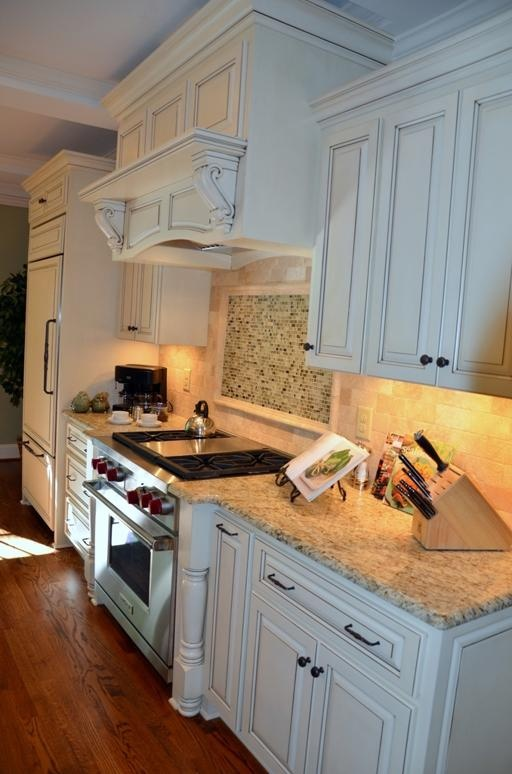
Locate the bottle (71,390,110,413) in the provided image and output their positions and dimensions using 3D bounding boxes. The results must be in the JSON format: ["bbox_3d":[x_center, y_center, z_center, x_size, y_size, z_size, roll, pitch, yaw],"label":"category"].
[{"bbox_3d":[-1.056,0.102,3.418,0.215,0.129,0.199,3,2,0],"label":"bottle"}]

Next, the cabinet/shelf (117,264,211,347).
[{"bbox_3d":[-0.620,-0.436,3.154,0.387,0.377,0.211,6,4,41],"label":"cabinet/shelf"}]

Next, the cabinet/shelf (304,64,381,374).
[{"bbox_3d":[0.257,-0.397,1.740,0.093,0.928,0.364,18,27,37],"label":"cabinet/shelf"}]

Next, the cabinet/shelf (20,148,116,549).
[{"bbox_3d":[-1.375,-0.140,3.855,0.495,2.170,0.988,0,8,-35],"label":"cabinet/shelf"}]

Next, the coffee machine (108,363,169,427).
[{"bbox_3d":[-0.727,0.027,3.326,0.307,0.298,0.179,6,9,28],"label":"coffee machine"}]

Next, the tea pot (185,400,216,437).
[{"bbox_3d":[-0.297,0.163,2.750,0.160,0.175,0.167,7,11,-1],"label":"tea pot"}]

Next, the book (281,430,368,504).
[{"bbox_3d":[0.202,0.280,1.759,0.241,0.193,0.306,1,9,-11],"label":"book"}]
